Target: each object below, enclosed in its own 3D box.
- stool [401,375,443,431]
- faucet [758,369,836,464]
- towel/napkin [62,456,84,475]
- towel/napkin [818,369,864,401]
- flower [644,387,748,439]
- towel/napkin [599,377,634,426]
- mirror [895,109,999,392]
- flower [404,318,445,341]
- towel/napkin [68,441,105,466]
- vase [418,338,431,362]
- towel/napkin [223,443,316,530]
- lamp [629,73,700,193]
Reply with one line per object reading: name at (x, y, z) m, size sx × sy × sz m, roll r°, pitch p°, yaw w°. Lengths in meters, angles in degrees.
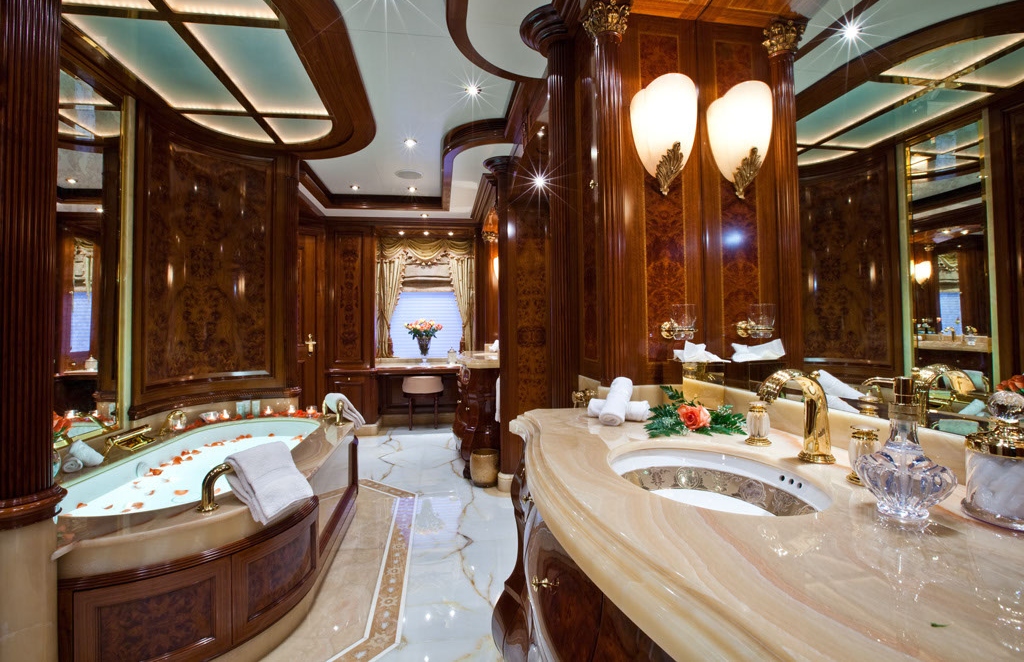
stool at (-1.100, 0.900, 8.235) m, size 0.489 × 0.766 × 0.635 m, roll -2°, pitch 12°, yaw -6°
faucet at (1.204, 0.352, 2.732) m, size 0.310 × 0.352 × 0.203 m, roll 2°, pitch 12°, yaw 12°
towel/napkin at (-2.664, 0.813, 3.925) m, size 0.112 × 0.094 × 0.128 m, roll -6°, pitch 13°, yaw -24°
towel/napkin at (1.445, 0.243, 2.861) m, size 0.046 × 0.114 × 0.157 m, roll 21°, pitch 0°, yaw -27°
flower at (0.829, 0.413, 3.074) m, size 0.264 × 0.097 × 0.261 m, roll -5°, pitch 5°, yaw -25°
towel/napkin at (0.501, 0.348, 3.173) m, size 0.151 × 0.183 × 0.233 m, roll 2°, pitch 12°, yaw 14°
mirror at (1.712, -0.334, 2.526) m, size 0.403 × 0.976 × 0.177 m, roll 7°, pitch 14°, yaw 32°
flower at (-1.172, 0.009, 8.706) m, size 0.330 × 0.232 × 0.328 m, roll 2°, pitch 0°, yaw -24°
towel/napkin at (-2.655, 0.773, 4.029) m, size 0.175 × 0.057 × 0.098 m, roll 36°, pitch 40°, yaw 8°
vase at (-1.174, 0.261, 8.786) m, size 0.161 × 0.346 × 0.232 m, roll -2°, pitch 12°, yaw -4°
towel/napkin at (-1.343, 0.852, 3.605) m, size 0.257 × 0.393 × 0.390 m, roll 9°, pitch 15°, yaw 38°
lamp at (0.841, -1.042, 3.569) m, size 0.379 × 0.596 × 0.383 m, roll 3°, pitch -6°, yaw -23°
